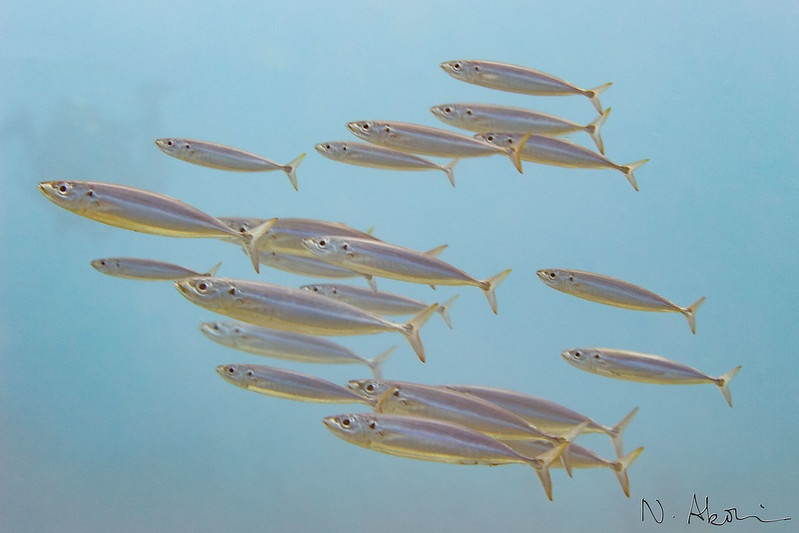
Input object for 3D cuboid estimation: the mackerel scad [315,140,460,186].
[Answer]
[{"bbox_3d":[0.175,-0.699,7.208,1.068,0.215,0.189,9,-26,21],"label":"mackerel scad"}]
